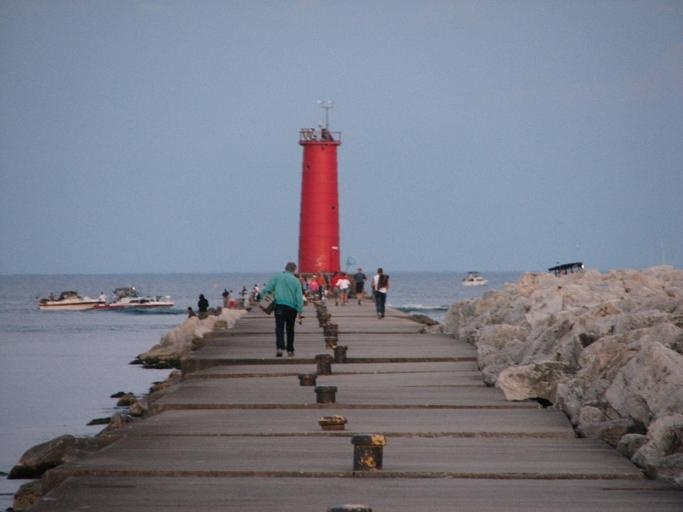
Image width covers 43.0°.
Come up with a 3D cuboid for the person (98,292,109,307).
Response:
[{"bbox_3d":[-20.511,3.732,74.256,0.772,1.178,3.279,-2,-1,-15],"label":"person"}]

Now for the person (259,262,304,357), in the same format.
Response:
[{"bbox_3d":[-0.898,0.793,13.279,0.594,1.422,1.162,-2,0,-4],"label":"person"}]

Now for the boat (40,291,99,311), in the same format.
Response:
[{"bbox_3d":[-25.888,4.243,81.883,5.003,2.323,1.605,1,3,-6],"label":"boat"}]

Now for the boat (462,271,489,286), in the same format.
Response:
[{"bbox_3d":[21.914,3.884,142.381,2.756,2.481,4.665,-1,-4,15],"label":"boat"}]
